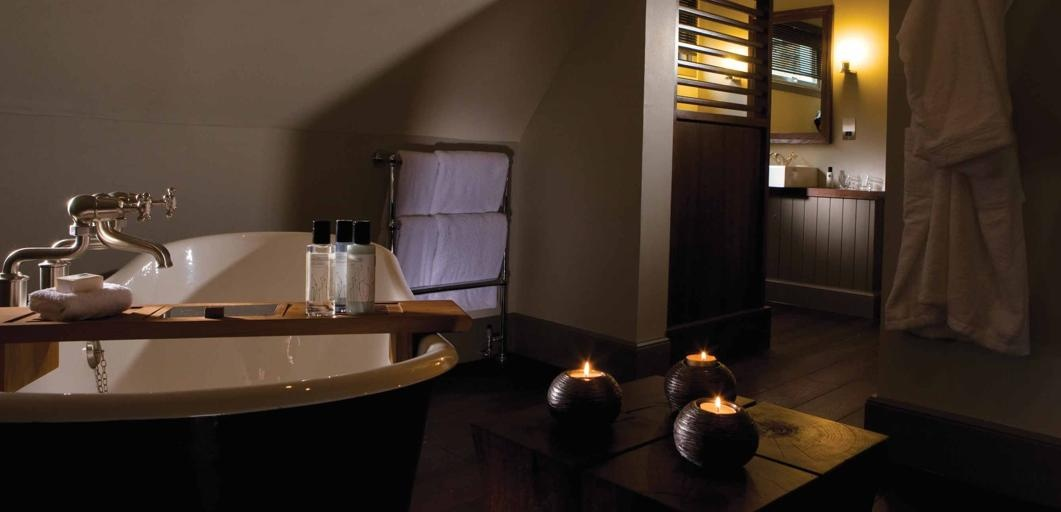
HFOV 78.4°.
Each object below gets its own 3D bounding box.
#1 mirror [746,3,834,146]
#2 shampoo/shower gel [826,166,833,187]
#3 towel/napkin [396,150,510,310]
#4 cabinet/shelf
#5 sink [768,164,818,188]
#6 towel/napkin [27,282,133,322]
[{"bbox_3d":[2.559,-1.686,6.110,0.525,1.246,0.217,1,10,21],"label":"mirror"},{"bbox_3d":[2.787,-0.734,6.063,0.026,0.182,0.060,-7,10,-26],"label":"shampoo/shower gel"},{"bbox_3d":[-0.527,-0.192,4.070,0.860,0.938,0.278,-3,14,-34],"label":"towel/napkin"},{"bbox_3d":[2.526,0.024,5.505,1.127,0.969,0.420,3,6,43],"label":"cabinet/shelf"},{"bbox_3d":[2.449,-0.725,5.982,0.462,0.204,0.414,0,8,14],"label":"sink"},{"bbox_3d":[-1.687,0.177,2.423,0.190,0.069,0.197,0,2,37],"label":"towel/napkin"}]
